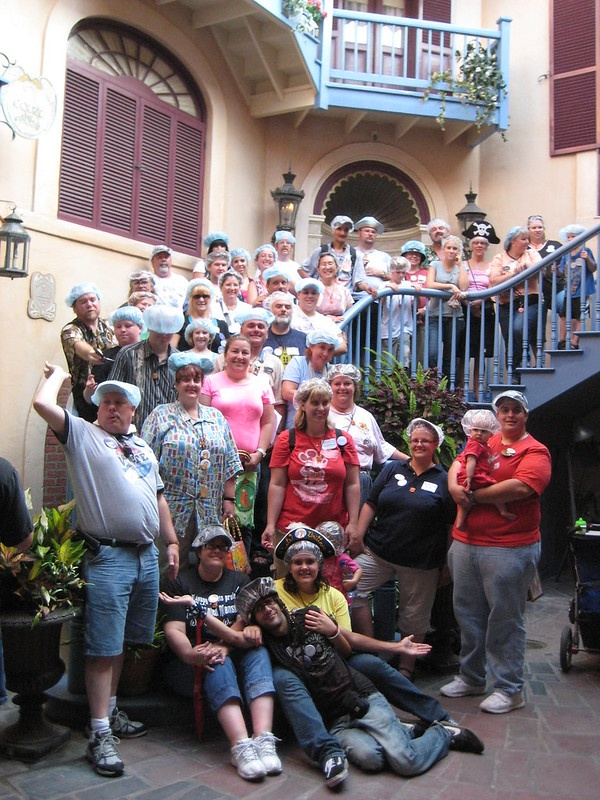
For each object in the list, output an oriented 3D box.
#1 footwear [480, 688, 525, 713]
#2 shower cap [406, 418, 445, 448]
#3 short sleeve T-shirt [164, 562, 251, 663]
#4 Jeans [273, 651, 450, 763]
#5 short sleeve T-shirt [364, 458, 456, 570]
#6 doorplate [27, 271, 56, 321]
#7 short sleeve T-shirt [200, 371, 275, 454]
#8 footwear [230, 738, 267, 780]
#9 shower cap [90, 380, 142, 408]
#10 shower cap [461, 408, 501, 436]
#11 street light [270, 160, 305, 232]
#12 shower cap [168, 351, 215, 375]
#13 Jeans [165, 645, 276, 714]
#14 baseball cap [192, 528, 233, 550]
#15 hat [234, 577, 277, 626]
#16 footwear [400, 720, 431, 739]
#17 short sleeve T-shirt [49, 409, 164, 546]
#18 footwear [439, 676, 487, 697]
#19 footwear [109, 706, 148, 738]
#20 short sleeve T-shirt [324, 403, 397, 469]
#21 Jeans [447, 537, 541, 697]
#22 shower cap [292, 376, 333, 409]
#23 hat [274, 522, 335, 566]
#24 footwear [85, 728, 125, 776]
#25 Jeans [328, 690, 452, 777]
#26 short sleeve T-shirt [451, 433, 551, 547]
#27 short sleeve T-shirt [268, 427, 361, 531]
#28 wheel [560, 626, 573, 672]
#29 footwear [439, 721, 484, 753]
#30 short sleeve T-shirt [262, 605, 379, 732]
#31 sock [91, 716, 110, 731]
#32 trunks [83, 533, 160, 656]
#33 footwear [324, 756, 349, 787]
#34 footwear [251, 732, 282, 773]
[{"bbox_3d":[1.173,1.745,4.685,0.301,0.109,0.101,9,-14,-34],"label":"footwear"},{"bbox_3d":[0.850,0.202,5.309,0.215,0.103,0.222,15,-27,13],"label":"shower cap"},{"bbox_3d":[-0.511,1.089,4.208,0.653,0.419,0.265,7,12,-31],"label":"short sleeve T-shirt"},{"bbox_3d":[0.244,1.448,4.029,0.711,0.213,0.815,-11,11,-22],"label":"Jeans"},{"bbox_3d":[0.723,0.748,5.229,0.589,0.665,0.316,2,4,11],"label":"short sleeve T-shirt"},{"bbox_3d":[-2.376,-0.942,7.437,0.115,0.447,0.451,2,3,9],"label":"doorplate"},{"bbox_3d":[-0.409,0.093,5.088,0.588,0.475,0.283,7,-16,-36],"label":"short sleeve T-shirt"},{"bbox_3d":[-0.225,1.617,3.618,0.113,0.118,0.200,0,3,-19],"label":"footwear"},{"bbox_3d":[-0.902,-0.028,3.990,0.242,0.123,0.226,0,3,-30],"label":"shower cap"},{"bbox_3d":[1.137,0.143,4.991,0.208,0.075,0.208,1,22,7],"label":"shower cap"},{"bbox_3d":[-0.154,-2.592,10.548,0.496,0.825,0.425,1,15,-11],"label":"street light"},{"bbox_3d":[-0.622,-0.211,4.769,0.325,0.126,0.242,-1,4,-34],"label":"shower cap"},{"bbox_3d":[-0.411,1.367,4.048,0.309,0.176,0.523,14,-21,-36],"label":"Jeans"},{"bbox_3d":[-0.442,0.718,4.161,0.196,0.134,0.114,1,4,-9],"label":"baseball cap"},{"bbox_3d":[-0.234,1.021,4.074,0.257,0.217,0.093,11,7,-23],"label":"hat"},{"bbox_3d":[0.591,1.641,4.020,0.104,0.029,0.095,1,1,-30],"label":"footwear"},{"bbox_3d":[-0.923,0.384,3.966,0.412,0.613,0.762,-22,-25,36],"label":"short sleeve T-shirt"},{"bbox_3d":[0.992,1.769,4.972,0.325,0.113,0.103,2,-7,-1],"label":"footwear"},{"bbox_3d":[-0.812,1.618,4.027,0.244,0.088,0.084,3,-3,12],"label":"footwear"},{"bbox_3d":[0.417,0.255,5.491,0.165,0.268,0.613,-12,-17,39],"label":"short sleeve T-shirt"},{"bbox_3d":[1.127,1.300,4.798,0.525,0.918,0.296,3,4,19],"label":"Jeans"},{"bbox_3d":[0.089,-0.040,4.900,0.201,0.178,0.263,2,3,2],"label":"shower cap"},{"bbox_3d":[0.042,0.784,4.363,0.342,0.207,0.267,1,3,-2],"label":"hat"},{"bbox_3d":[-0.859,1.565,3.556,0.105,0.093,0.239,5,-6,-31],"label":"footwear"},{"bbox_3d":[0.409,1.551,3.811,0.328,0.171,0.402,2,14,-33],"label":"Jeans"},{"bbox_3d":[1.199,0.547,4.808,0.555,0.660,0.407,2,4,9],"label":"short sleeve T-shirt"},{"bbox_3d":[0.088,0.492,4.895,0.524,0.633,0.251,2,4,3],"label":"short sleeve T-shirt"},{"bbox_3d":[1.832,1.708,5.483,0.077,0.304,0.214,3,4,19],"label":"wheel"},{"bbox_3d":[0.825,1.669,3.997,0.266,0.076,0.114,8,13,35],"label":"footwear"},{"bbox_3d":[0.091,1.337,4.021,0.584,0.211,0.400,38,49,20],"label":"short sleeve T-shirt"},{"bbox_3d":[-0.889,1.446,3.611,0.072,0.047,0.061,-1,-16,41],"label":"sock"},{"bbox_3d":[-0.879,0.958,3.870,0.282,0.550,0.450,2,4,8],"label":"trunks"},{"bbox_3d":[0.160,1.619,3.510,0.071,0.061,0.173,-2,-5,5],"label":"footwear"},{"bbox_3d":[-0.143,1.604,3.652,0.082,0.078,0.207,4,-5,-17],"label":"footwear"}]
